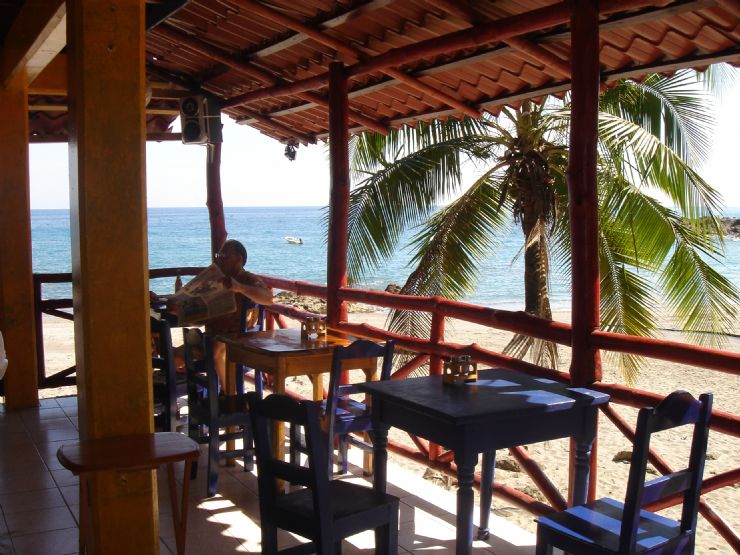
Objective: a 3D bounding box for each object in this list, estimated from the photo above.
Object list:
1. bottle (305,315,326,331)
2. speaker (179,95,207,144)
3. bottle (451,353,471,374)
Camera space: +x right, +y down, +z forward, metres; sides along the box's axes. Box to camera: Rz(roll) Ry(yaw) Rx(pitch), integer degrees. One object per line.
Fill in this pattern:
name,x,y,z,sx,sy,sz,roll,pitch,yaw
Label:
bottle,-0.408,0.335,5.065,0.106,0.106,0.110,-2,2,11
speaker,-2.132,-1.907,8.083,0.378,0.566,0.241,0,4,3
bottle,0.522,0.489,3.863,0.098,0.082,0.107,-2,5,0
